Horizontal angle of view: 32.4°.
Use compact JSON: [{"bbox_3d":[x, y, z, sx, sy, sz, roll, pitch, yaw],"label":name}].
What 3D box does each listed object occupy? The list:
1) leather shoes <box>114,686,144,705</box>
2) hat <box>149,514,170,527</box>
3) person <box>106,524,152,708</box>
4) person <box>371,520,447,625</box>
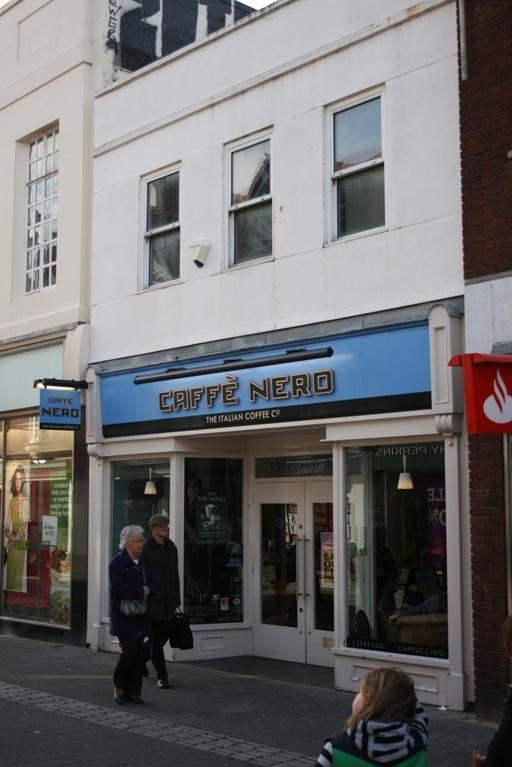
[{"bbox_3d":[-1.114,2.713,7.685,0.294,0.155,0.113,8,-6,19],"label":"leather shoes"},{"bbox_3d":[-0.990,1.389,8.983,0.147,0.151,0.194,1,-2,-16],"label":"hat"},{"bbox_3d":[-1.132,2.051,7.893,0.354,1.522,0.443,-1,-8,0],"label":"person"},{"bbox_3d":[1.424,1.707,7.910,0.233,0.796,0.699,10,-22,-25],"label":"person"}]
